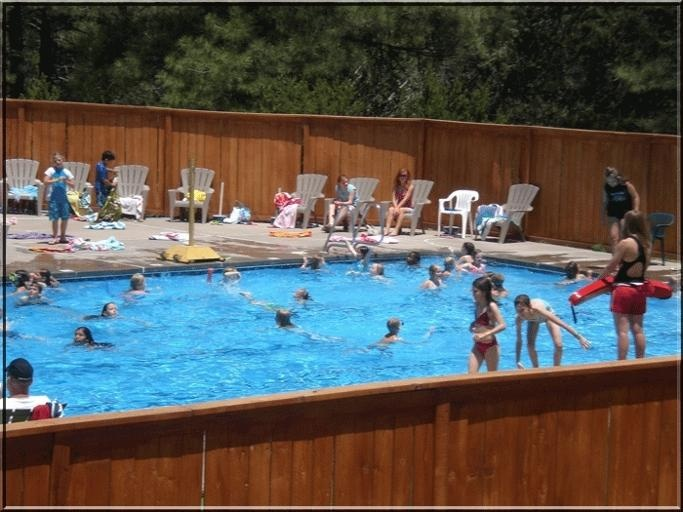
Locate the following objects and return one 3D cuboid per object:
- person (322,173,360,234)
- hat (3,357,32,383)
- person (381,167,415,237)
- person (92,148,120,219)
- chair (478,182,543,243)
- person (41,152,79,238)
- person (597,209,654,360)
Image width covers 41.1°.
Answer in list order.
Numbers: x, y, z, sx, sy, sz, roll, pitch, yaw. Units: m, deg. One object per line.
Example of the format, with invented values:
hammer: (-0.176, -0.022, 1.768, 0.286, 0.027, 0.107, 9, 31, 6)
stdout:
person: (-0.013, -1.141, 19.200, 0.720, 1.160, 1.603, 0, 8, 0)
hat: (-2.858, 1.006, 8.135, 0.208, 0.195, 0.192, -4, 9, -22)
person: (1.208, -1.161, 19.135, 0.586, 1.355, 0.853, 0, 9, 4)
person: (-4.595, -1.395, 18.013, 0.448, 1.397, 0.981, -3, 9, -14)
chair: (3.331, -0.886, 18.311, 0.911, 1.114, 0.861, -3, 11, -43)
person: (-4.826, -0.998, 15.696, 0.437, 1.562, 0.689, -3, 9, -17)
person: (3.074, 0.319, 9.925, 0.459, 1.620, 0.606, 3, 9, 18)
